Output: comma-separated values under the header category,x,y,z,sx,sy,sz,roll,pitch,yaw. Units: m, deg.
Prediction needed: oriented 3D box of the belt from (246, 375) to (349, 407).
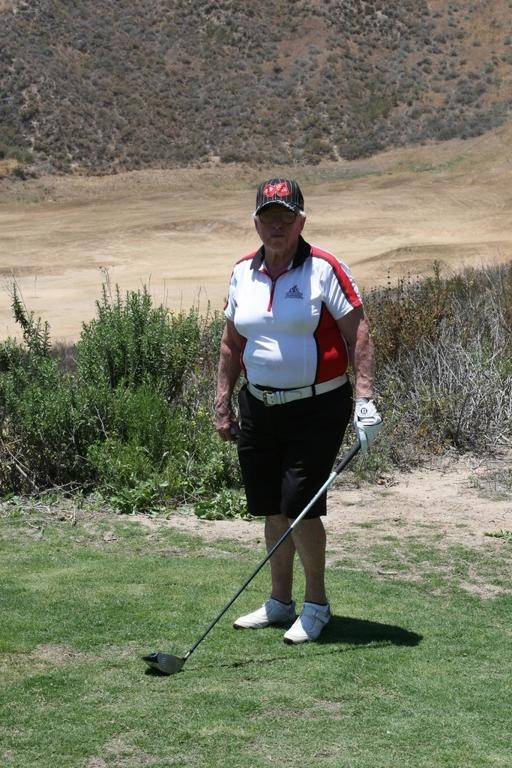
category,x,y,z,sx,sy,sz,roll,pitch,yaw
belt,0.154,0.020,3.973,0.374,0.119,0.171,2,8,-1

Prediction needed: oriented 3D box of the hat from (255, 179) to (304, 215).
category,x,y,z,sx,sy,sz,roll,pitch,yaw
hat,0.090,-0.706,3.973,0.183,0.139,0.233,2,8,0

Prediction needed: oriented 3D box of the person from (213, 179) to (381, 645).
category,x,y,z,sx,sy,sz,roll,pitch,yaw
person,0.170,0.103,4.035,0.787,1.673,0.468,1,1,37
